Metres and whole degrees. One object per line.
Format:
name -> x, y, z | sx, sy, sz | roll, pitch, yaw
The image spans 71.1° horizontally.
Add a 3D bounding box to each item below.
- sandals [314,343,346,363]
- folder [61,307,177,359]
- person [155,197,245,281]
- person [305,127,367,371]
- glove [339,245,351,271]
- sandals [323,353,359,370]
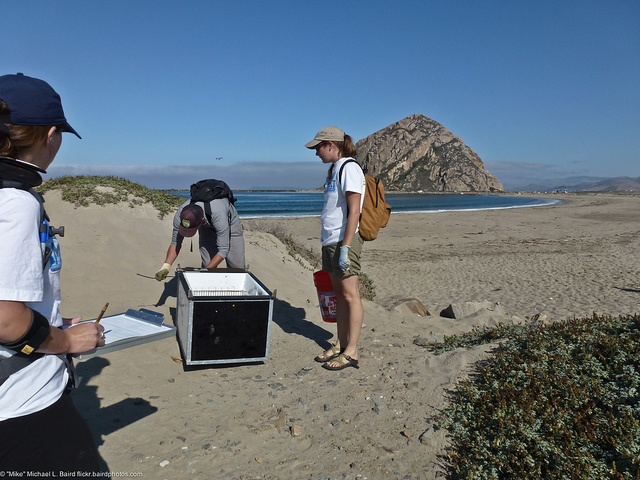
sandals -> 0.131, 1.374, 5.372 | 0.393, 0.111, 0.154 | -10, 9, -11
folder -> -1.364, 0.656, 3.181 | 0.562, 0.134, 0.550 | 8, 12, 39
person -> -1.582, -0.098, 6.180 | 0.998, 1.286, 0.958 | 2, 15, -42
person -> 0.209, 0.145, 5.081 | 0.661, 2.746, 0.705 | 3, 10, 0
glove -> 0.272, 0.200, 4.803 | 0.117, 0.281, 0.140 | 3, 10, 1
sandals -> 0.262, 1.374, 5.096 | 0.326, 0.143, 0.182 | 3, -4, -5
